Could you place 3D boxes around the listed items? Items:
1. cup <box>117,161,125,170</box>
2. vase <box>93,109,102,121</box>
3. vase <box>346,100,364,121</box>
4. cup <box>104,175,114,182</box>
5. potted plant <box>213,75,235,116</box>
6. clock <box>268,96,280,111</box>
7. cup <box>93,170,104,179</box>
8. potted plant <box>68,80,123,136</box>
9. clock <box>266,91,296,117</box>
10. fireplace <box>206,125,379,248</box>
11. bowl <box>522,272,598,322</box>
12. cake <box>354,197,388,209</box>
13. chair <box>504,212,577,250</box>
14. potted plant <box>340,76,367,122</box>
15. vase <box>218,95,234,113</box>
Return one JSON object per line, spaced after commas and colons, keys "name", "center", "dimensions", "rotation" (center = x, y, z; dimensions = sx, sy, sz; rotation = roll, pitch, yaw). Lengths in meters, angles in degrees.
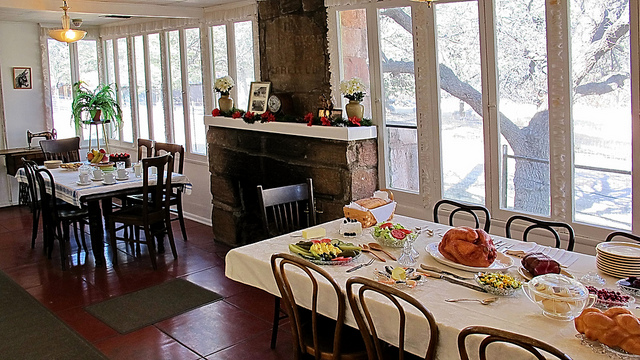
{"name": "cup", "center": [-2.837, -0.206, 6.065], "dimensions": [0.121, 0.116, 0.154], "rotation": [4, -4, -6]}
{"name": "vase", "center": [-4.267, -1.248, 8.180], "dimensions": [0.207, 0.189, 0.192], "rotation": [0, -7, -6]}
{"name": "vase", "center": [0.422, -0.846, 5.102], "dimensions": [0.235, 0.244, 0.217], "rotation": [-1, 6, 8]}
{"name": "cup", "center": [-2.840, -0.032, 5.741], "dimensions": [0.114, 0.105, 0.148], "rotation": [-8, 13, -25]}
{"name": "potted plant", "center": [-1.380, -1.229, 6.170], "dimensions": [0.333, 0.469, 0.312], "rotation": [4, 16, 25]}
{"name": "clock", "center": [-0.599, -1.016, 5.611], "dimensions": [0.220, 0.208, 0.032], "rotation": [11, 16, 43]}
{"name": "cup", "center": [-3.052, -0.084, 5.907], "dimensions": [0.119, 0.114, 0.078], "rotation": [-17, 7, 8]}
{"name": "potted plant", "center": [-4.420, -1.475, 8.425], "dimensions": [0.826, 0.681, 0.949], "rotation": [-5, 1, -15]}
{"name": "clock", "center": [-0.511, -1.002, 5.624], "dimensions": [0.369, 0.312, 0.247], "rotation": [-3, 12, -5]}
{"name": "fireplace", "center": [-0.368, 0.082, 6.061], "dimensions": [0.979, 1.722, 3.002], "rotation": [-11, 14, -43]}
{"name": "bowl", "center": [1.587, 0.767, 2.832], "dimensions": [0.408, 0.195, 0.314], "rotation": [5, 10, 23]}
{"name": "cake", "center": [0.498, 0.216, 4.078], "dimensions": [0.266, 0.059, 0.206], "rotation": [-11, 15, -39]}
{"name": "chair", "center": [2.082, 0.499, 4.301], "dimensions": [0.250, 0.236, 0.356], "rotation": [20, -28, -34]}
{"name": "potted plant", "center": [0.391, -0.945, 5.042], "dimensions": [0.342, 0.497, 0.317], "rotation": [-2, 7, 11]}
{"name": "vase", "center": [-1.353, -1.106, 6.132], "dimensions": [0.186, 0.248, 0.258], "rotation": [-5, 13, -12]}
